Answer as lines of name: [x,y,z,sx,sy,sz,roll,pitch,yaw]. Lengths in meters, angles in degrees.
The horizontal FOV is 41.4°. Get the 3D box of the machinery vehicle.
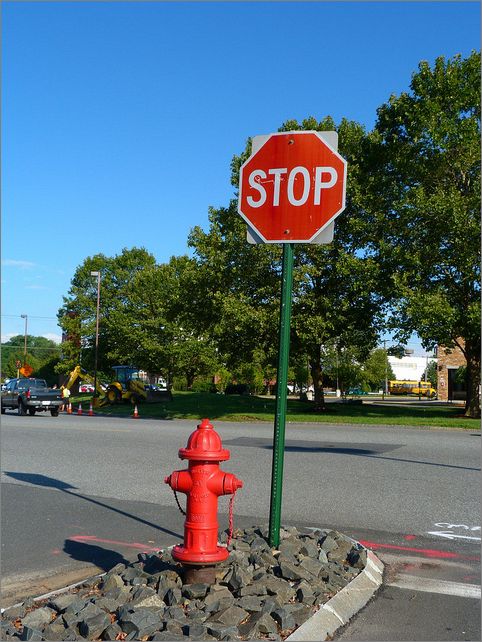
machinery vehicle: [-6.990,4.073,38.520,7.084,3.119,2.634,-4,-2,7]

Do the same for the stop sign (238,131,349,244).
stop sign: [0.379,-0.977,4.640,0.802,0.851,0.110,-3,-5,25]

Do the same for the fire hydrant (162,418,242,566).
fire hydrant: [-0.237,1.089,4.061,0.493,0.947,0.403,0,-4,-6]
